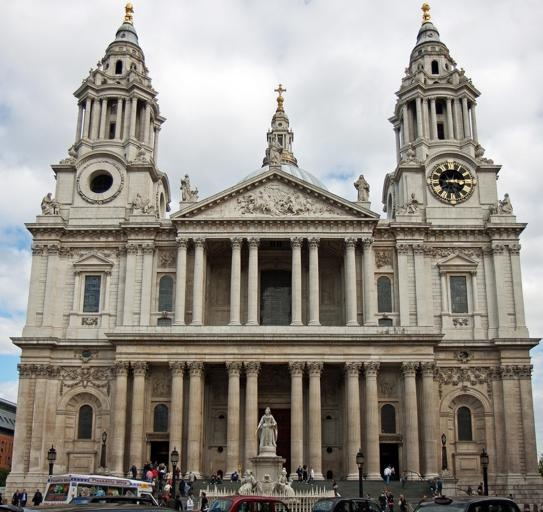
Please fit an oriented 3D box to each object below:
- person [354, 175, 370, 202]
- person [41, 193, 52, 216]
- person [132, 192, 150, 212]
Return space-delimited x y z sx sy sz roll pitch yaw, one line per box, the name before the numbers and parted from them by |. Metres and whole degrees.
person | 6.880 -5.119 51.512 0.922 2.270 0.996 -2 -15 7
person | -17.385 -4.033 52.731 0.703 1.873 0.745 9 -18 -30
person | -9.984 -3.922 52.266 1.241 1.510 0.628 5 -16 -15
